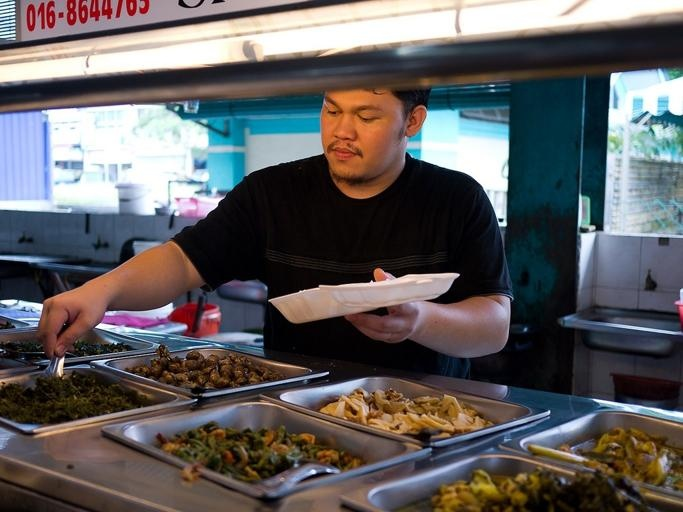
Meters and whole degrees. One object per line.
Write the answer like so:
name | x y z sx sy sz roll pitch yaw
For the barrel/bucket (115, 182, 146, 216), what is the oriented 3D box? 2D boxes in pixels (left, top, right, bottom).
barrel/bucket | -2.189 -0.599 6.405 0.343 0.295 0.335 0 2 0

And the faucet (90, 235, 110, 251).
faucet | -2.587 -0.128 6.544 0.162 0.126 0.147 0 3 8

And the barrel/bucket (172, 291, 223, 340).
barrel/bucket | -1.105 0.468 4.731 0.383 0.265 0.340 3 -1 -44

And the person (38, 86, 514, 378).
person | -0.099 -0.128 1.944 1.298 0.869 0.674 2 3 8
